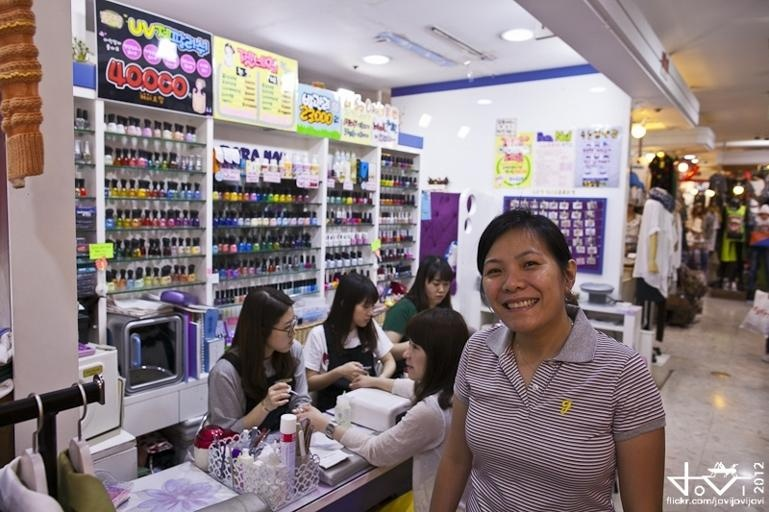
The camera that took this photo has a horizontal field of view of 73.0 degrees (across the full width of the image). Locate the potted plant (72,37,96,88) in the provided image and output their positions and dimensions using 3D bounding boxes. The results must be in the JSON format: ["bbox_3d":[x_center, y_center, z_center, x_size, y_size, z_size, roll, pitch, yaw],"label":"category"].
[{"bbox_3d":[-2.357,-1.493,4.001,0.218,0.301,0.228,22,22,39],"label":"potted plant"}]

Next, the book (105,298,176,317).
[{"bbox_3d":[-1.892,0.388,3.998,0.432,0.082,0.358,11,12,37],"label":"book"}]

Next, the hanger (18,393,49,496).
[{"bbox_3d":[-1.154,0.621,1.704,0.149,0.343,0.058,12,13,41],"label":"hanger"}]

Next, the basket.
[{"bbox_3d":[-0.570,0.942,2.426,0.435,0.143,0.268,23,-4,28],"label":"basket"}]

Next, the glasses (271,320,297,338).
[{"bbox_3d":[-0.593,0.420,3.012,0.099,0.030,0.096,1,10,11],"label":"glasses"}]

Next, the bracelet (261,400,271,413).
[{"bbox_3d":[-0.646,0.814,2.840,0.056,0.053,0.057,-7,13,-12],"label":"bracelet"}]

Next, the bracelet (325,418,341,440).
[{"bbox_3d":[-0.274,0.906,2.705,0.063,0.096,0.098,10,-3,18],"label":"bracelet"}]

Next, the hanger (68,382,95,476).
[{"bbox_3d":[-1.037,0.600,1.762,0.125,0.335,0.041,24,23,34],"label":"hanger"}]

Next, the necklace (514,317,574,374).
[{"bbox_3d":[0.587,0.322,1.913,0.190,0.145,0.249,-16,-15,10],"label":"necklace"}]
